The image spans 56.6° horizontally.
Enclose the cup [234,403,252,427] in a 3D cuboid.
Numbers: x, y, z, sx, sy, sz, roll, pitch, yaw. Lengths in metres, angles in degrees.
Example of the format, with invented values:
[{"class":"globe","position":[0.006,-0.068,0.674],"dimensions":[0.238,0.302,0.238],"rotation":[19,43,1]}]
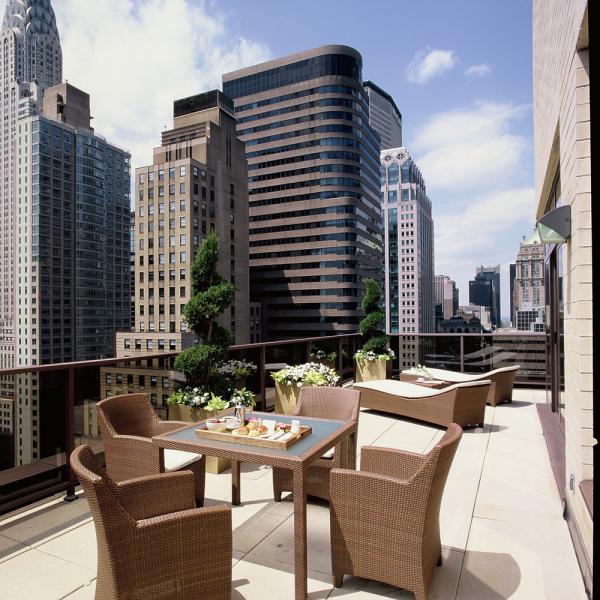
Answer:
[{"class":"cup","position":[-0.386,0.784,3.737],"dimensions":[0.076,0.160,0.144],"rotation":[0,-8,5]}]

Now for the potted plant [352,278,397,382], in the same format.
[{"class":"potted plant","position":[1.339,0.576,10.504],"dimensions":[0.748,2.305,0.863],"rotation":[-9,12,-40]}]

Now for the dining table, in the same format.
[{"class":"dining table","position":[-0.106,1.046,3.545],"dimensions":[0.836,0.821,0.970],"rotation":[2,4,30]}]

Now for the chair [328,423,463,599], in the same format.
[{"class":"chair","position":[0.568,1.270,3.487],"dimensions":[0.775,1.265,0.773],"rotation":[1,-1,25]}]

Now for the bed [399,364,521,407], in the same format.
[{"class":"bed","position":[2.333,1.160,8.185],"dimensions":[1.407,0.673,0.766],"rotation":[3,3,42]}]

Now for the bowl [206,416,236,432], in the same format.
[{"class":"bowl","position":[-0.497,0.802,3.573],"dimensions":[0.103,0.055,0.104],"rotation":[-1,-2,0]}]

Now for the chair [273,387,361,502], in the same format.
[{"class":"chair","position":[0.138,1.117,4.261],"dimensions":[0.544,0.910,0.619],"rotation":[4,-8,10]}]

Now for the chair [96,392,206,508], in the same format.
[{"class":"chair","position":[-1.085,1.119,3.974],"dimensions":[0.614,0.778,0.664],"rotation":[2,-3,-31]}]

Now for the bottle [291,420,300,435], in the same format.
[{"class":"bottle","position":[-0.020,0.815,3.517],"dimensions":[0.049,0.069,0.055],"rotation":[2,-4,21]}]
